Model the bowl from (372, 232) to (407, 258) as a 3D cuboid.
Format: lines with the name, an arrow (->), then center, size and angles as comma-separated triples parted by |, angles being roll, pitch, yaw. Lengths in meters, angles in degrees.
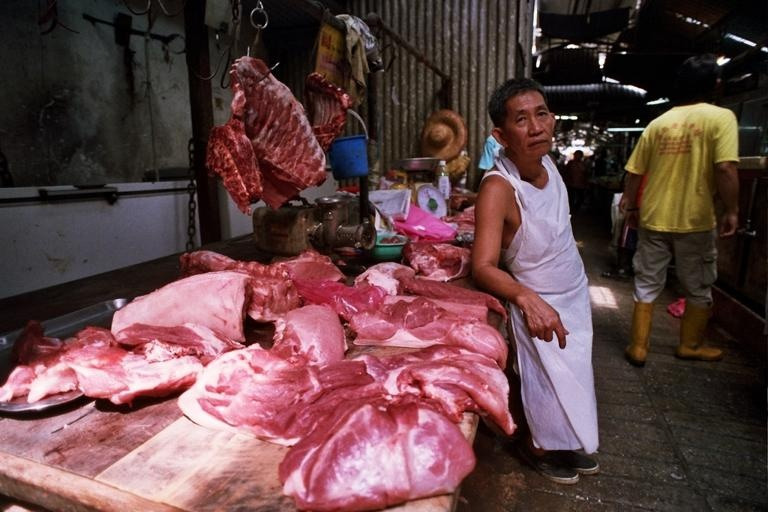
bowl -> 0.055, -0.063, 4.415 | 0.284, 0.208, 0.306 | 0, 17, 0

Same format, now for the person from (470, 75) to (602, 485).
person -> 1.104, 0.124, 3.757 | 1.029, 2.671, 0.922 | 15, 23, 40

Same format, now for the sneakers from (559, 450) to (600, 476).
sneakers -> 1.523, 1.641, 4.223 | 0.133, 0.159, 0.365 | -15, 6, -40

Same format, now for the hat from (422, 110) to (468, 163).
hat -> 0.890, -1.810, 7.846 | 0.562, 0.720, 0.605 | -3, 18, -9

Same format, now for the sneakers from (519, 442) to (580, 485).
sneakers -> 1.291, 1.638, 4.171 | 0.214, 0.170, 0.485 | -20, 23, -40

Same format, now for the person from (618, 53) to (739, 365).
person -> 3.020, -0.210, 5.343 | 0.935, 2.590, 0.830 | 1, 18, 5
